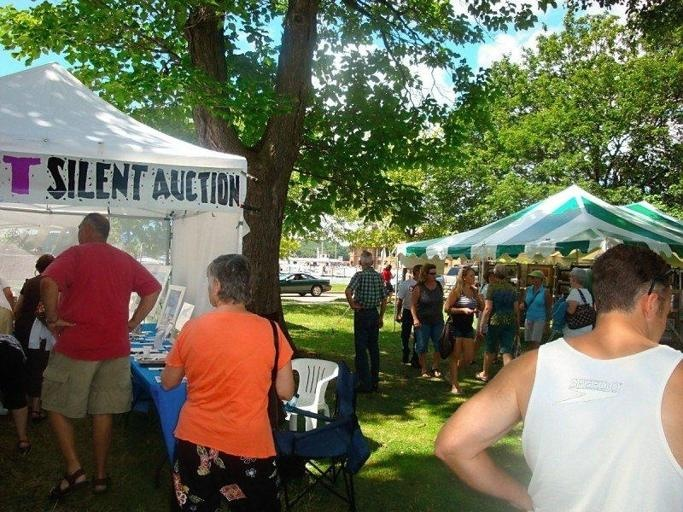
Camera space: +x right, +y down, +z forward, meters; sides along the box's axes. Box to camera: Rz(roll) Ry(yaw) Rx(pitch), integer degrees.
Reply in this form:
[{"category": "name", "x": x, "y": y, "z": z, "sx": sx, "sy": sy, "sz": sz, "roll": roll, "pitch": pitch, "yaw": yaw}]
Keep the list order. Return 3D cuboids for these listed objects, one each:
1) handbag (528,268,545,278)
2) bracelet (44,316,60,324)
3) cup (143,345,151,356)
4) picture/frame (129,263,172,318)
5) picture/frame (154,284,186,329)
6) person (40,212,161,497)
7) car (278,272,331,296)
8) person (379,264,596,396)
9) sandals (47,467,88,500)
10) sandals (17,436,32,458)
[{"category": "handbag", "x": 4.357, "y": 0.378, "z": 12.026, "sx": 0.364, "sy": 0.165, "sz": 0.503, "roll": -3, "pitch": -6, "yaw": 35}, {"category": "bracelet", "x": -2.340, "y": 0.516, "z": 4.351, "sx": 0.134, "sy": 0.047, "sz": 0.152, "roll": 0, "pitch": -6, "yaw": -11}, {"category": "cup", "x": -2.003, "y": 0.967, "z": 5.509, "sx": 0.072, "sy": 0.077, "sz": 0.102, "roll": 4, "pitch": -7, "yaw": -10}, {"category": "picture/frame", "x": -2.031, "y": 0.369, "z": 5.784, "sx": 0.771, "sy": 0.693, "sz": 0.087, "roll": 4, "pitch": -13, "yaw": 41}, {"category": "picture/frame", "x": -1.966, "y": 0.577, "z": 6.198, "sx": 0.048, "sy": 0.673, "sz": 0.576, "roll": 24, "pitch": -27, "yaw": -22}, {"category": "person", "x": -2.038, "y": 0.942, "z": 4.492, "sx": 0.814, "sy": 2.091, "sz": 0.234, "roll": 1, "pitch": 2, "yaw": -29}, {"category": "car", "x": -2.164, "y": 1.596, "z": 30.283, "sx": 2.953, "sy": 0.979, "sz": 1.319, "roll": 5, "pitch": -6, "yaw": -26}, {"category": "person", "x": 1.876, "y": 1.046, "z": 7.746, "sx": 2.061, "sy": 1.417, "sz": 0.626, "roll": 0, "pitch": -6, "yaw": 1}, {"category": "sandals", "x": -2.329, "y": 1.887, "z": 4.529, "sx": 0.359, "sy": 0.155, "sz": 0.188, "roll": -27, "pitch": -7, "yaw": 20}, {"category": "sandals", "x": -3.190, "y": 1.926, "z": 5.416, "sx": 0.085, "sy": 0.054, "sz": 0.208, "roll": 27, "pitch": 12, "yaw": -45}]
